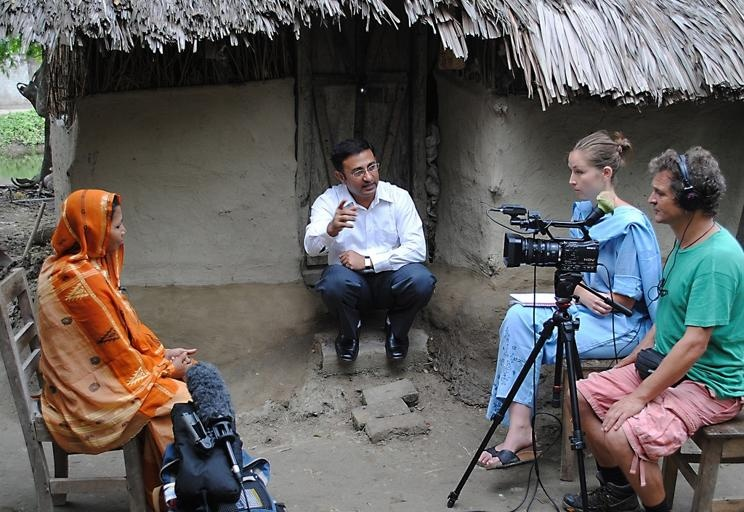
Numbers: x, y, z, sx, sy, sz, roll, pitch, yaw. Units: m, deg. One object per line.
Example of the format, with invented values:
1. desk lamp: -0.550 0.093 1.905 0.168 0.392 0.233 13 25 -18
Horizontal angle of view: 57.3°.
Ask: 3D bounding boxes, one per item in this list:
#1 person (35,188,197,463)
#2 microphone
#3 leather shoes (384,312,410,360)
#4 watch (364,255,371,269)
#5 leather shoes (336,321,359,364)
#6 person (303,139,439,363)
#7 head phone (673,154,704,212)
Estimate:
1. person: -1.587 0.401 4.056 0.819 1.579 0.513 -2 9 -10
2. microphone: -0.873 0.799 3.624 0.196 0.215 0.778 -7 49 -20
3. leather shoes: 0.203 0.642 5.547 0.179 0.184 0.456 -3 32 -2
4. watch: -0.035 0.050 5.333 0.062 0.086 0.063 -1 8 -1
5. leather shoes: -0.200 0.655 5.439 0.129 0.162 0.389 6 49 -8
6. person: -0.030 -0.019 5.356 0.992 1.778 0.615 -2 8 -6
7. head phone: 1.789 -0.370 3.840 0.112 0.297 0.329 -10 -9 24
